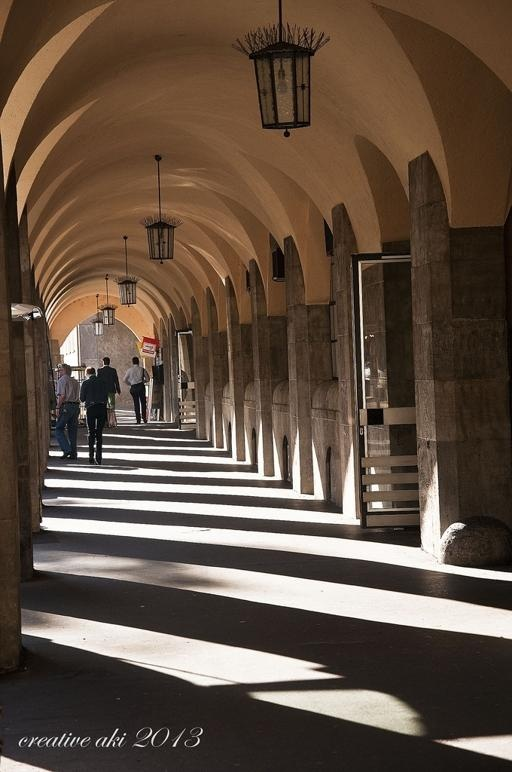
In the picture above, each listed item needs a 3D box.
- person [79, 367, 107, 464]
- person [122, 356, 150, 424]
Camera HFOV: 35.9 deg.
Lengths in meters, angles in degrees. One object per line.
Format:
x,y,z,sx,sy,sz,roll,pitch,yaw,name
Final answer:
-3.089,0.575,15.085,0.472,1.856,1.885,0,-1,-13,person
-3.990,-0.039,26.542,0.676,2.649,0.758,-11,38,-15,person
